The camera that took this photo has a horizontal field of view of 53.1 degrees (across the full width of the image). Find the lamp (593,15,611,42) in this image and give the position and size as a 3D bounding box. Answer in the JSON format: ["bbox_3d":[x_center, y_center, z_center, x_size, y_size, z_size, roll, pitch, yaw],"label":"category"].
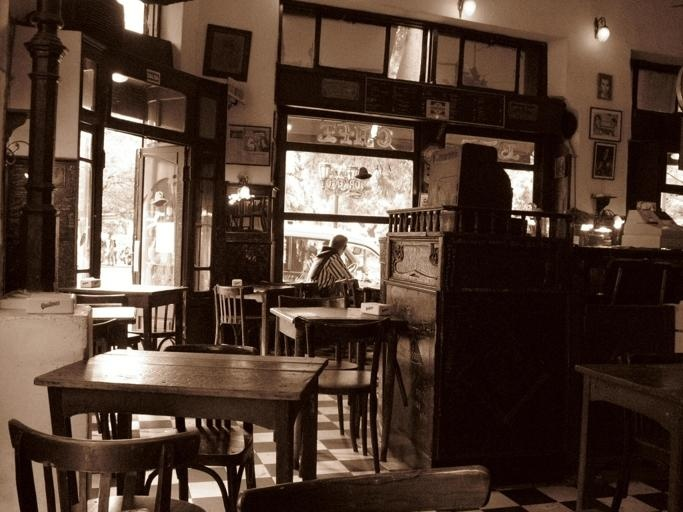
[{"bbox_3d":[3.668,-3.149,9.416,0.313,0.315,0.228,2,1,-22],"label":"lamp"}]

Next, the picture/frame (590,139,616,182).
[{"bbox_3d":[3.620,-1.337,9.485,0.520,0.808,0.053,1,0,-24],"label":"picture/frame"}]

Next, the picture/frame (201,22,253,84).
[{"bbox_3d":[-1.390,-2.425,8.128,0.642,0.775,0.073,7,3,-23],"label":"picture/frame"}]

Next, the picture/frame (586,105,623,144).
[{"bbox_3d":[3.635,-1.824,9.489,0.412,0.552,0.040,-11,5,-19],"label":"picture/frame"}]

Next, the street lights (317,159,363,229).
[{"bbox_3d":[-0.073,-0.884,9.269,0.597,0.786,0.587,1,-5,-5],"label":"street lights"}]
